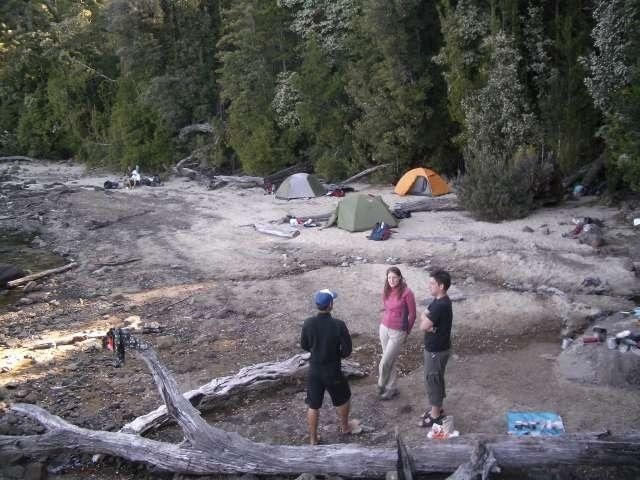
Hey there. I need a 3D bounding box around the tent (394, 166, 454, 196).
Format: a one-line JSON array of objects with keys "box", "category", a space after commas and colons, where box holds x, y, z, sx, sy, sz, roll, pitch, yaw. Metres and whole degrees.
[{"box": [4.719, -2.460, 23.182, 1.618, 0.797, 1.689, -7, 9, -34], "category": "tent"}]

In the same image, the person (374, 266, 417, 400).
[{"box": [1.304, 1.609, 9.100, 0.711, 2.267, 0.442, -4, 11, 6], "category": "person"}]

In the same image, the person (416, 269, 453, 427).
[{"box": [1.851, 1.741, 8.449, 0.454, 2.403, 0.688, 1, 12, 29], "category": "person"}]

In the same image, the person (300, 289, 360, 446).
[{"box": [0.153, 2.003, 8.356, 0.817, 2.418, 0.341, -6, 11, -6], "category": "person"}]

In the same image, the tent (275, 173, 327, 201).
[{"box": [-0.795, -2.394, 24.442, 1.545, 0.689, 1.550, -8, 11, -11], "category": "tent"}]

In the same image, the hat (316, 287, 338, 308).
[{"box": [0.118, 0.920, 8.516, 0.282, 0.341, 0.686, -4, 10, 4], "category": "hat"}]

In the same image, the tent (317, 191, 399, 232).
[{"box": [1.355, -0.923, 18.163, 1.520, 0.775, 1.658, -9, 16, -14], "category": "tent"}]

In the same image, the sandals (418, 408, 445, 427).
[{"box": [1.797, 2.835, 8.441, 0.315, 0.118, 0.248, -3, 0, -4], "category": "sandals"}]
